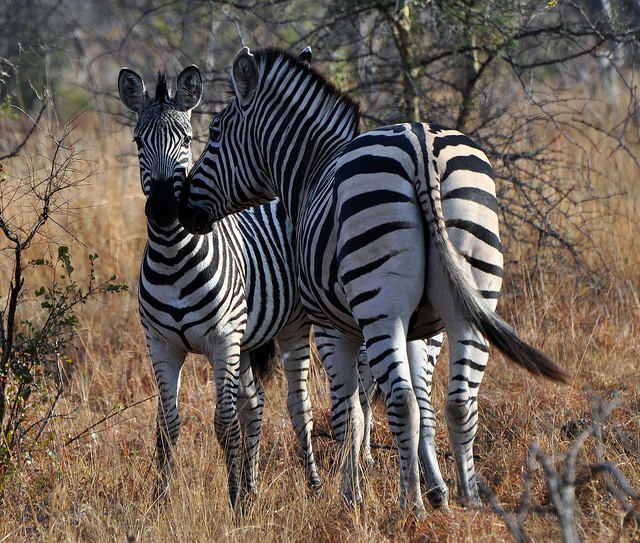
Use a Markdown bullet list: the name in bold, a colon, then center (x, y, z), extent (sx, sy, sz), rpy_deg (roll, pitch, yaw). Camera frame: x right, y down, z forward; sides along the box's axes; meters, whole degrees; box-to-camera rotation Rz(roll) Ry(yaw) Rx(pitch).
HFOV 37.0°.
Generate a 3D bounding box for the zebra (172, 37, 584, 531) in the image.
- **zebra**: center (0.329, 0.013, 6.928), extent (0.783, 3.295, 3.996), rpy_deg (-6, 3, -13)

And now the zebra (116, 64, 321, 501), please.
- **zebra**: center (-0.753, 0.181, 7.111), extent (0.665, 3.025, 2.709), rpy_deg (2, 0, 21)
